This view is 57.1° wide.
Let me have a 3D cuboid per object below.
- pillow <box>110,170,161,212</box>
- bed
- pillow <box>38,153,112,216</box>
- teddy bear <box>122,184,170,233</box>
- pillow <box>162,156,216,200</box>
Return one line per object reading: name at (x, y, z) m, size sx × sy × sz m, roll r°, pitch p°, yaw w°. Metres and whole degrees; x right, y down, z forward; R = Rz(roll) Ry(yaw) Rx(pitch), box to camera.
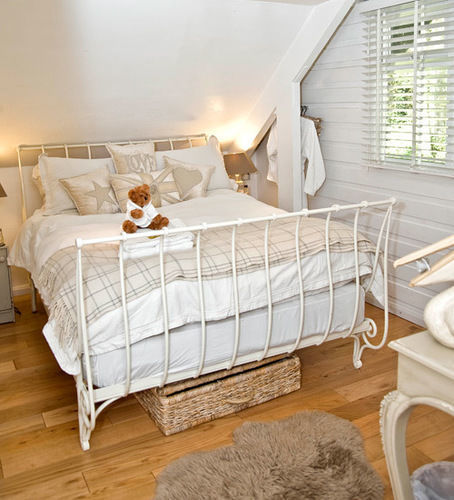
pillow at (-0.617, -0.405, 2.753) m, size 0.360 × 0.306 × 0.110 m, roll -13°, pitch -5°, yaw -38°
bed at (-0.362, -0.025, 2.173) m, size 1.368 × 0.735 × 1.469 m, roll -8°, pitch 19°, yaw -25°
pillow at (-1.033, -0.447, 2.792) m, size 0.468 × 0.421 × 0.133 m, roll -9°, pitch -8°, yaw -42°
teddy bear at (-0.352, -0.167, 1.743) m, size 0.208 × 0.184 × 0.151 m, roll -10°, pitch 25°, yaw -18°
pillow at (-0.235, -0.517, 2.948) m, size 0.341 × 0.297 × 0.097 m, roll -7°, pitch -9°, yaw -30°
